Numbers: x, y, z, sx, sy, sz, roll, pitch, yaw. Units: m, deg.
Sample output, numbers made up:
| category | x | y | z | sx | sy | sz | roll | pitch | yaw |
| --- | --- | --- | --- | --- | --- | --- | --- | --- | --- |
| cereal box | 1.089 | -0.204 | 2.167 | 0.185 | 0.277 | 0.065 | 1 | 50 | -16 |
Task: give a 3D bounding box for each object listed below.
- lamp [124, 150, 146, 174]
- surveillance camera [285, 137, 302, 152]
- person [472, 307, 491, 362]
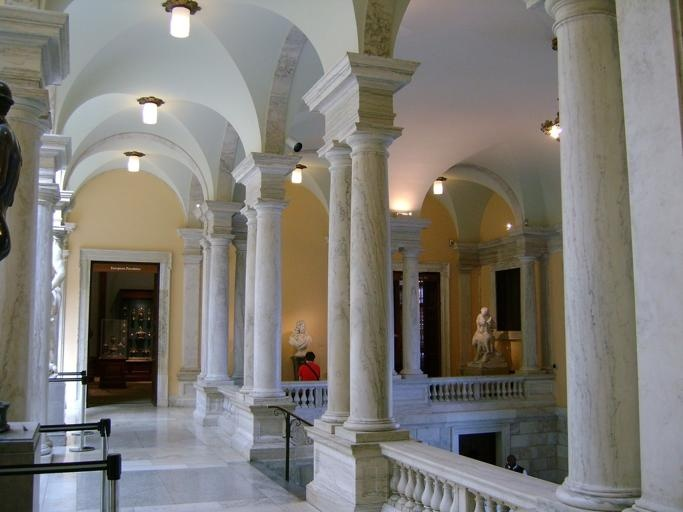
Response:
| category | x | y | z | sx | sy | sz | roll | pitch | yaw |
| --- | --- | --- | --- | --- | --- | --- | --- | --- | --- |
| lamp | -5.316 | -2.449 | 15.401 | 0.597 | 0.554 | 0.603 | -2 | -4 | 40 |
| surveillance camera | -0.871 | -2.054 | 10.945 | 0.265 | 0.318 | 0.408 | 1 | -10 | -5 |
| person | 3.746 | 2.077 | 15.918 | 0.484 | 1.413 | 1.614 | -2 | -10 | 8 |
